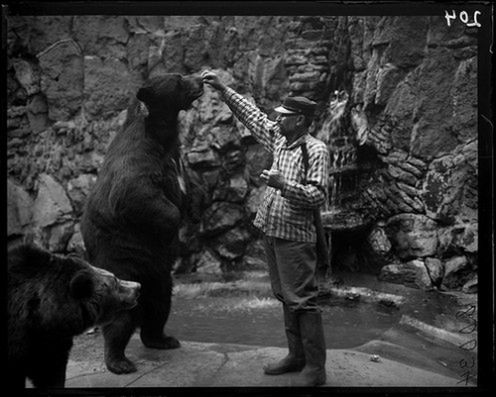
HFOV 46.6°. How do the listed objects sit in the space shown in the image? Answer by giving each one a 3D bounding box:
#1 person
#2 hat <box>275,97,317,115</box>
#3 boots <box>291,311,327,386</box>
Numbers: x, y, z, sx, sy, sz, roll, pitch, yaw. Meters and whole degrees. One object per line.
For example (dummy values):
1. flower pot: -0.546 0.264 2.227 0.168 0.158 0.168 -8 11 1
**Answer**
1. person: 0.320 0.390 5.840 0.659 2.775 1.239 -7 11 -36
2. hat: 0.489 -0.900 5.754 0.277 0.124 0.214 -1 16 -3
3. boots: 0.600 1.462 5.547 0.311 0.764 0.190 0 9 6
